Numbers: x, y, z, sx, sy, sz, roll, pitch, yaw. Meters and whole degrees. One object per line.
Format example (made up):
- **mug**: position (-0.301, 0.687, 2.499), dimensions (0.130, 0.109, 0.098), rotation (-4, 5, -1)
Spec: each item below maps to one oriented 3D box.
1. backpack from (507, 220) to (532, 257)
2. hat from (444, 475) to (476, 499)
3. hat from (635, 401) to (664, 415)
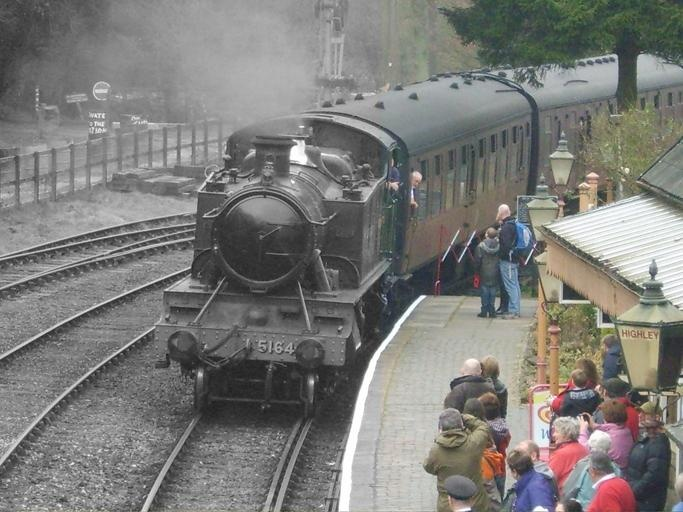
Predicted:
- **backpack**: position (3.011, -0.319, 18.308), dimensions (0.547, 0.605, 0.410), rotation (9, 12, 37)
- **hat**: position (1.097, 2.101, 9.640), dimensions (0.271, 0.184, 0.240), rotation (0, 14, 8)
- **hat**: position (3.179, 1.533, 10.712), dimensions (0.134, 0.119, 0.197), rotation (9, 12, 40)
